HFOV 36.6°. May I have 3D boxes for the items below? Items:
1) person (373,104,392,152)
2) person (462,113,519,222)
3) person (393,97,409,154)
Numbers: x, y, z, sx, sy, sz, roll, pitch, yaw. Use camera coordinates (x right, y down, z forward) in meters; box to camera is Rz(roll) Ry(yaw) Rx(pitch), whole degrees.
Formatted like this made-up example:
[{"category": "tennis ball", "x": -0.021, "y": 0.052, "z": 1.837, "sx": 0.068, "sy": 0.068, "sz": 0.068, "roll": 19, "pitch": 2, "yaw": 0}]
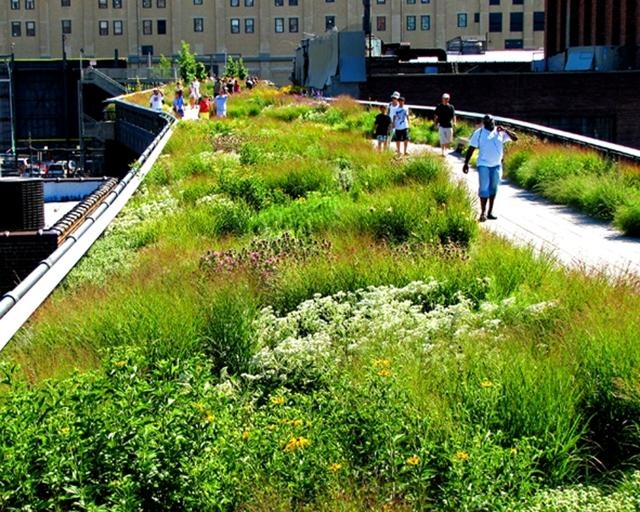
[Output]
[{"category": "person", "x": 1.700, "y": -3.314, "z": 25.741, "sx": 0.420, "sy": 1.469, "sz": 0.445, "roll": -2, "pitch": 25, "yaw": -5}, {"category": "person", "x": 3.062, "y": -1.614, "z": 17.446, "sx": 0.856, "sy": 1.876, "sz": 1.047, "roll": 2, "pitch": 11, "yaw": 13}, {"category": "person", "x": 2.146, "y": -3.462, "z": 25.863, "sx": 0.399, "sy": 1.437, "sz": 1.134, "roll": -1, "pitch": 11, "yaw": 2}]
